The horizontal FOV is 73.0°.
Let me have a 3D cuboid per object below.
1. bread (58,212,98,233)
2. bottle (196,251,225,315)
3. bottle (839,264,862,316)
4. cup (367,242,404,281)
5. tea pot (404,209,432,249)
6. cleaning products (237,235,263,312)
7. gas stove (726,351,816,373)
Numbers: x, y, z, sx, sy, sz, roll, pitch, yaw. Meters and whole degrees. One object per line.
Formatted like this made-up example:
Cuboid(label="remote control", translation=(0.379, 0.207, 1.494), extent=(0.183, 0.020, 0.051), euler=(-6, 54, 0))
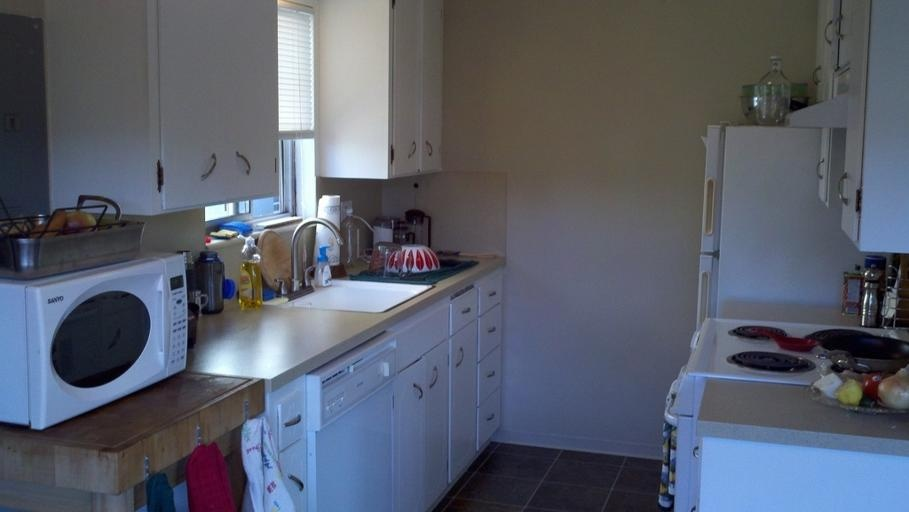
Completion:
Cuboid(label="bread", translation=(-1.456, -0.126, 2.377), extent=(0.091, 0.052, 0.108), euler=(-1, -1, -31))
Cuboid(label="bottle", translation=(-1.286, 0.144, 3.282), extent=(0.077, 0.345, 0.203), euler=(5, 11, 30))
Cuboid(label="bottle", translation=(2.270, 0.192, 3.510), extent=(0.094, 0.264, 0.181), euler=(5, 11, 31))
Cuboid(label="cup", translation=(-0.479, 0.046, 4.199), extent=(0.227, 0.241, 0.226), euler=(0, 4, 0))
Cuboid(label="tea pot", translation=(-0.270, -0.215, 4.810), extent=(0.203, 0.289, 0.099), euler=(-7, 11, -32))
Cuboid(label="cleaning products", translation=(-1.158, 0.086, 3.500), extent=(0.138, 0.383, 0.256), euler=(-4, 10, -17))
Cuboid(label="gas stove", translation=(1.506, 0.504, 2.932), extent=(0.385, 0.033, 0.243), euler=(-1, 9, -3))
